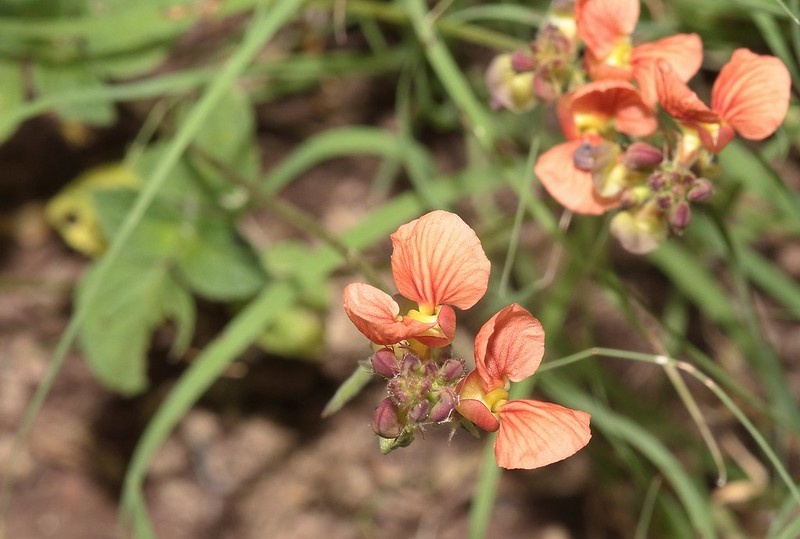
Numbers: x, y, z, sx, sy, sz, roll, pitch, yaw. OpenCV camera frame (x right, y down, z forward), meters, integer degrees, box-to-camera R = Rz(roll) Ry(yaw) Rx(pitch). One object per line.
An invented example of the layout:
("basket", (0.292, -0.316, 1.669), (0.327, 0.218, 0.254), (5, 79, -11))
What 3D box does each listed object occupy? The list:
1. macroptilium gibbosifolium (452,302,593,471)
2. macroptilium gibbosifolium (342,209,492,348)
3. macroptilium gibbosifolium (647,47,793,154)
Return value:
("macroptilium gibbosifolium", (0.277, 0.311, 2.023), (0.184, 0.478, 0.400), (-30, 74, 3))
("macroptilium gibbosifolium", (0.048, 0.050, 2.097), (0.277, 0.284, 0.337), (35, 57, 15))
("macroptilium gibbosifolium", (0.867, -0.469, 2.205), (0.340, 0.224, 0.216), (-2, 55, -12))
